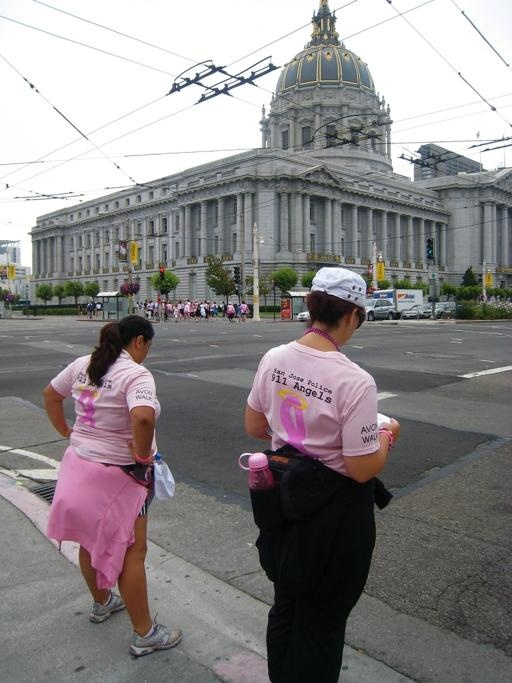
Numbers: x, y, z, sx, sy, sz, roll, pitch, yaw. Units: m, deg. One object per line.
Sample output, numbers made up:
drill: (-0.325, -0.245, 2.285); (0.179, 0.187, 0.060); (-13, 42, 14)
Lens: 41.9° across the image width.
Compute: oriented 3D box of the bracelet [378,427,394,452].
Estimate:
bracelet: (0.488, 0.355, 2.467); (0.055, 0.072, 0.036); (-4, -13, -40)

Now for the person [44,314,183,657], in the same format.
person: (-0.689, 0.611, 3.157); (0.798, 1.475, 0.432); (1, 2, 41)

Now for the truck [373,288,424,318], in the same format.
truck: (12.025, -3.198, 54.792); (4.507, 2.496, 2.384); (-6, 7, -37)

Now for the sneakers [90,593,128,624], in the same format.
sneakers: (-0.702, 1.279, 3.198); (0.072, 0.076, 0.170); (2, 2, 23)

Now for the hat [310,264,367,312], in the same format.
hat: (0.311, -0.201, 2.477); (0.193, 0.099, 0.145); (-11, 19, -44)

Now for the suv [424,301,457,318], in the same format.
suv: (14.519, -2.558, 52.873); (1.410, 0.974, 2.224); (-1, -1, 42)

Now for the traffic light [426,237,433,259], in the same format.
traffic light: (10.077, -5.463, 38.704); (0.339, 1.113, 1.490); (0, 2, 10)

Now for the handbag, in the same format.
handbag: (0.111, 0.497, 2.290); (0.300, 0.257, 0.212); (-1, 1, -31)

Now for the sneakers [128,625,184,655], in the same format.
sneakers: (-0.430, 1.307, 2.907); (0.213, 0.093, 0.095); (-5, 7, -36)

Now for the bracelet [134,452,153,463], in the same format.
bracelet: (-0.509, 0.523, 3.024); (0.072, 0.025, 0.067); (2, 2, 5)
